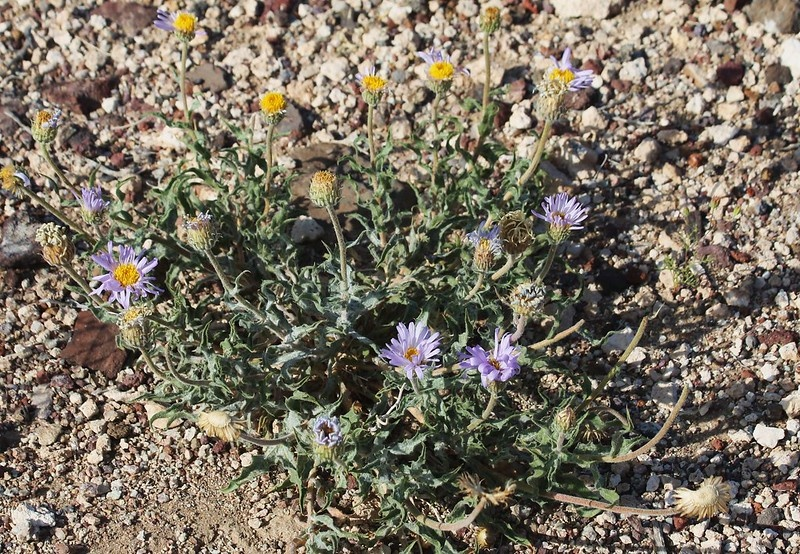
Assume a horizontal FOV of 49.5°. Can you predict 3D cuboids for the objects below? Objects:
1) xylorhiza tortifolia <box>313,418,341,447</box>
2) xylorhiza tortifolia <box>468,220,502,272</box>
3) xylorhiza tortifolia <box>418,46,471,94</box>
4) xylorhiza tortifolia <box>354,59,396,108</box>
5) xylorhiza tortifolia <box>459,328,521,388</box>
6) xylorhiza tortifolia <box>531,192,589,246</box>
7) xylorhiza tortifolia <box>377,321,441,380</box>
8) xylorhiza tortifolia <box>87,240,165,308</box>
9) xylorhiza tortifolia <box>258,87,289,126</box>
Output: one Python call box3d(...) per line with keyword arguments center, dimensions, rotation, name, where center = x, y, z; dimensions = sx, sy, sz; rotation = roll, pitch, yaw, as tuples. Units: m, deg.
box3d(center=(-0.432, 0.926, 5.213), dimensions=(0.146, 0.179, 0.173), rotation=(-2, 44, -1), name="xylorhiza tortifolia")
box3d(center=(0.555, -0.210, 5.631), dimensions=(0.187, 0.284, 0.363), rotation=(-8, 73, -5), name="xylorhiza tortifolia")
box3d(center=(0.287, -1.492, 6.233), dimensions=(0.205, 0.113, 0.322), rotation=(-21, 75, -9), name="xylorhiza tortifolia")
box3d(center=(-0.201, -1.414, 6.299), dimensions=(0.180, 0.206, 0.365), rotation=(-15, 74, -7), name="xylorhiza tortifolia")
box3d(center=(0.590, 0.510, 5.236), dimensions=(0.338, 0.168, 0.359), rotation=(6, 15, -36), name="xylorhiza tortifolia")
box3d(center=(1.015, -0.389, 5.738), dimensions=(0.433, 0.460, 0.239), rotation=(2, 71, -7), name="xylorhiza tortifolia")
box3d(center=(0.055, 0.436, 5.406), dimensions=(0.330, 0.333, 0.141), rotation=(-18, 63, -27), name="xylorhiza tortifolia")
box3d(center=(-1.757, -0.075, 5.612), dimensions=(0.484, 0.526, 0.219), rotation=(0, 67, 13), name="xylorhiza tortifolia")
box3d(center=(-0.868, -1.240, 6.250), dimensions=(0.254, 0.281, 0.277), rotation=(-1, 70, -2), name="xylorhiza tortifolia")
